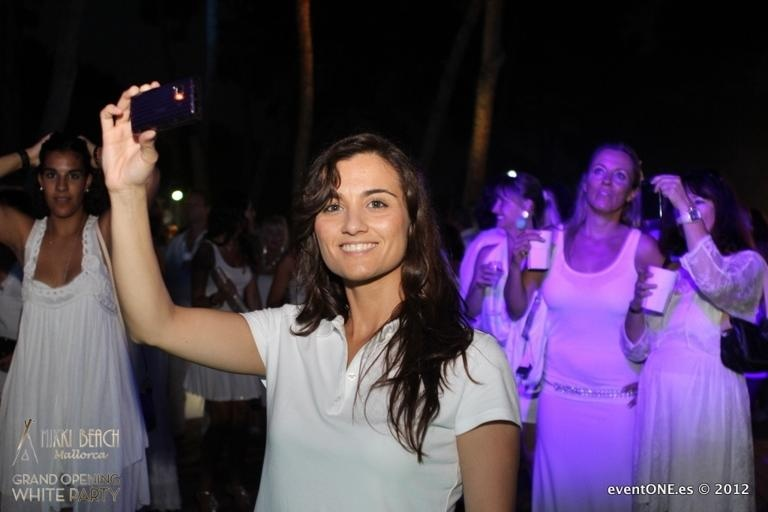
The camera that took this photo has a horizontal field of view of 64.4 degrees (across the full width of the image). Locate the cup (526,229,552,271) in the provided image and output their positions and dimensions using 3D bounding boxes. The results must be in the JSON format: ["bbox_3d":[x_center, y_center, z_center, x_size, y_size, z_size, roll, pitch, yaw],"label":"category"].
[{"bbox_3d":[1.254,-0.020,4.930,0.224,0.329,0.218,4,-17,1],"label":"cup"}]

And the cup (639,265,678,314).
[{"bbox_3d":[2.008,0.244,4.472,0.217,0.375,0.204,23,-5,2],"label":"cup"}]
